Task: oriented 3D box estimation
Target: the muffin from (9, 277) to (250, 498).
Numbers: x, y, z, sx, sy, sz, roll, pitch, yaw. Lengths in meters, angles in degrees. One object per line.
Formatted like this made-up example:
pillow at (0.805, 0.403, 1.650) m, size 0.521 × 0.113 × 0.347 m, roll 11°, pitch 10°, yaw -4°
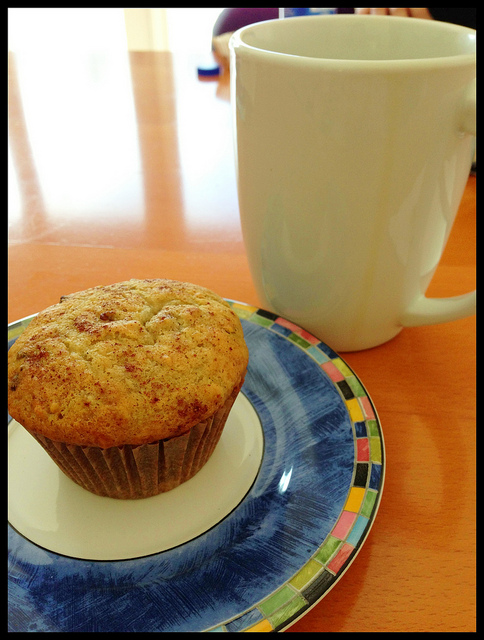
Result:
muffin at (-0.127, 0.064, 0.623) m, size 0.266 × 0.138 × 0.240 m, roll -3°, pitch 46°, yaw -4°

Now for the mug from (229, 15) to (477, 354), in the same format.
mug at (0.130, -0.160, 0.692) m, size 0.285 × 0.393 × 0.308 m, roll -1°, pitch 46°, yaw -1°
